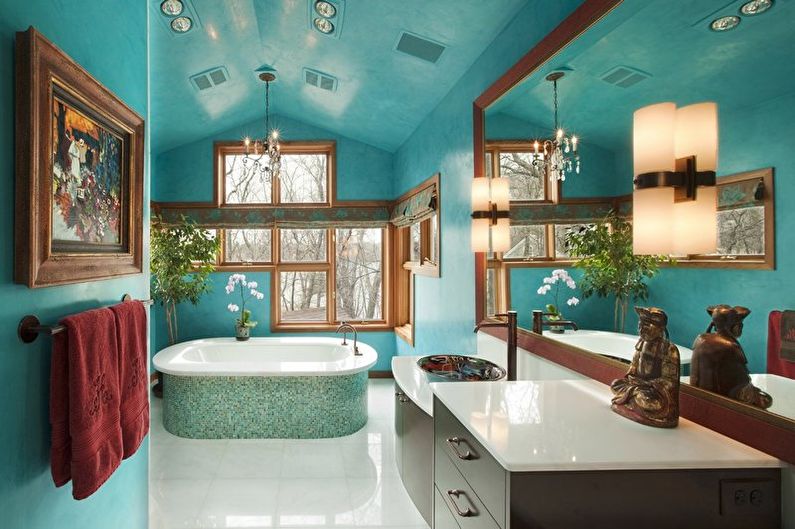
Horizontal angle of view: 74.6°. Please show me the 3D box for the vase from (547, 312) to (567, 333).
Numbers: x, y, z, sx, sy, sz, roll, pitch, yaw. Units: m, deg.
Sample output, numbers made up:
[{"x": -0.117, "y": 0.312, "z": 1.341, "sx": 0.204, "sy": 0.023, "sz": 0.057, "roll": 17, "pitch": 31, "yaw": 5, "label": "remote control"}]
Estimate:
[{"x": 0.811, "y": 0.309, "z": 2.707, "sx": 0.088, "sy": 0.059, "sz": 0.086, "roll": 0, "pitch": 1, "yaw": 25, "label": "vase"}]

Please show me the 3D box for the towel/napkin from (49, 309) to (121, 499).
[{"x": -1.366, "y": 0.595, "z": 2.338, "sx": 0.164, "sy": 0.760, "sz": 0.408, "roll": 3, "pitch": 9, "yaw": 11, "label": "towel/napkin"}]

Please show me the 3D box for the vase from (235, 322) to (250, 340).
[{"x": -1.586, "y": 0.707, "z": 5.467, "sx": 0.175, "sy": 0.181, "sz": 0.171, "roll": 1, "pitch": -8, "yaw": -11, "label": "vase"}]

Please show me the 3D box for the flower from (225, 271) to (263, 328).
[{"x": -1.690, "y": 0.414, "z": 5.841, "sx": 0.421, "sy": 0.621, "sz": 0.314, "roll": -2, "pitch": 10, "yaw": -18, "label": "flower"}]

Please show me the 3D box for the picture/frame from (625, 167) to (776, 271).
[{"x": 1.179, "y": -0.181, "z": 2.012, "sx": 0.133, "sy": 0.374, "sz": 0.412, "roll": 3, "pitch": -4, "yaw": -25, "label": "picture/frame"}]

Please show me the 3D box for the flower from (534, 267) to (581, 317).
[{"x": 0.799, "y": 0.138, "z": 2.666, "sx": 0.209, "sy": 0.246, "sz": 0.241, "roll": 0, "pitch": -1, "yaw": -21, "label": "flower"}]
